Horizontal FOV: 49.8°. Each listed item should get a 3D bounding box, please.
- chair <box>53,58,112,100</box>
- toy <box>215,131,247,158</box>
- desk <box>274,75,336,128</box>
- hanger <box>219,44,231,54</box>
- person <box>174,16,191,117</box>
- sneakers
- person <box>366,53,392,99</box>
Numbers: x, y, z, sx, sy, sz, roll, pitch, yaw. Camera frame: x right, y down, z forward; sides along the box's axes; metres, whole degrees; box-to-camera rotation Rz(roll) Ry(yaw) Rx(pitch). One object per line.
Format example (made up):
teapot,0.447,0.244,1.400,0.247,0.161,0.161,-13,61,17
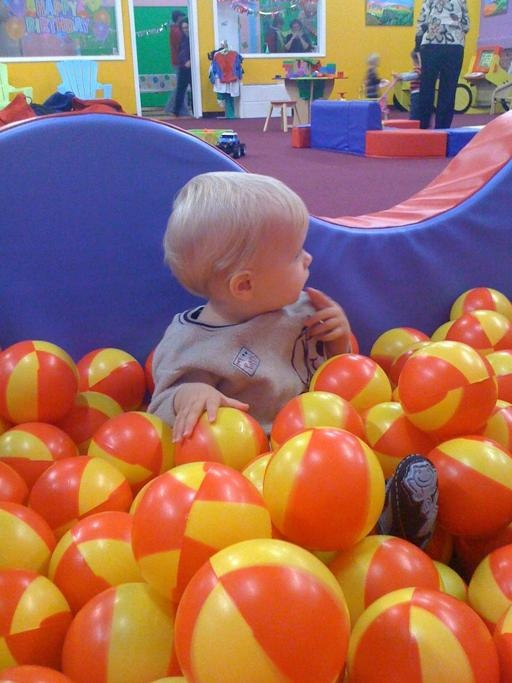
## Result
chair,-2.386,-3.668,7.632,0.731,0.491,0.230,-4,25,-17
toy,-0.232,-1.757,4.895,0.260,0.220,0.462,4,24,-1
desk,0.761,-3.594,8.124,0.687,0.700,0.573,9,25,11
hanger,-0.503,-4.701,8.795,0.133,0.152,0.223,-3,25,2
person,-1.327,-4.920,9.790,0.298,1.597,0.474,0,25,-8
sneakers,0.196,0.189,0.713,0.050,0.145,0.061,9,-16,-32
person,2.157,-4.847,9.976,0.362,0.743,0.465,2,24,-3
